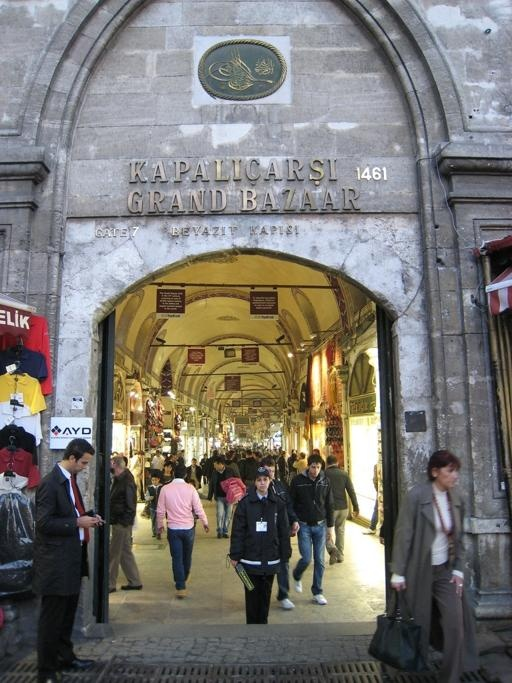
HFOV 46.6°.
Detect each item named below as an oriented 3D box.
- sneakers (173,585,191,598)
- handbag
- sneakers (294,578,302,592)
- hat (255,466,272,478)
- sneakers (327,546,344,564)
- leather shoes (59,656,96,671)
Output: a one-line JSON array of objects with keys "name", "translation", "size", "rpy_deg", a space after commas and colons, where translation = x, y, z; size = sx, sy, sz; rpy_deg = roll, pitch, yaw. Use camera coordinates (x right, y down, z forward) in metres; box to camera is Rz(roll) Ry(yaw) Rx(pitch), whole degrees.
[{"name": "sneakers", "translation": [-0.906, 3.022, 7.146], "size": [0.113, 0.131, 0.310], "rpy_deg": [1, -23, -2]}, {"name": "handbag", "translation": [0.917, 1.880, 3.883], "size": [0.203, 0.463, 0.386], "rpy_deg": [7, -9, -38]}, {"name": "sneakers", "translation": [0.500, 2.995, 7.251], "size": [0.087, 0.152, 0.165], "rpy_deg": [-2, -9, 5]}, {"name": "hat", "translation": [0.067, 1.224, 5.561], "size": [0.145, 0.102, 0.233], "rpy_deg": [0, -6, 1]}, {"name": "sneakers", "translation": [1.164, 3.184, 8.819], "size": [0.143, 0.195, 0.474], "rpy_deg": [-6, -23, 8]}, {"name": "leather shoes", "translation": [-1.382, 2.498, 4.607], "size": [0.279, 0.114, 0.085], "rpy_deg": [-1, -9, -14]}]
